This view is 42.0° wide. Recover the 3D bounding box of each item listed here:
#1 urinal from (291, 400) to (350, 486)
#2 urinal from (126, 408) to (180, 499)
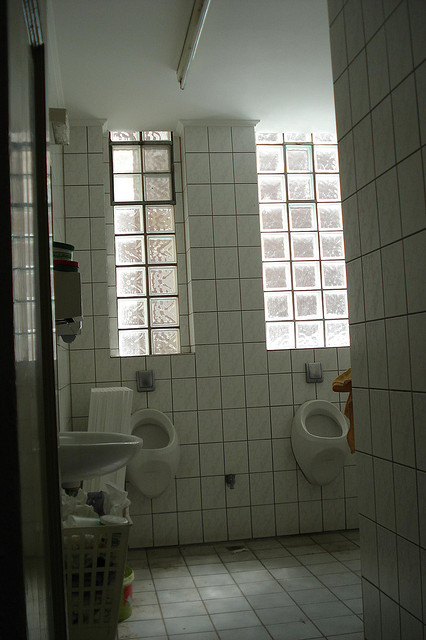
[{"bbox_3d":[0.611,0.690,3.175,0.347,0.530,0.347,-1,-4,-13],"label":"urinal"},{"bbox_3d":[-0.331,0.701,3.089,0.298,0.586,0.350,1,1,-14],"label":"urinal"}]
